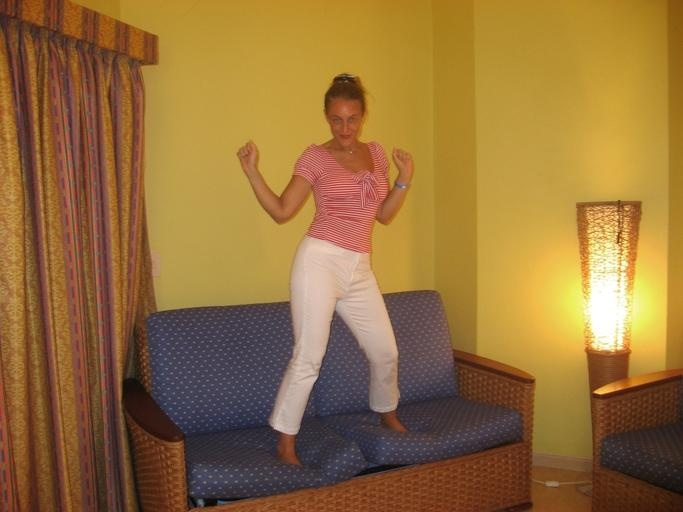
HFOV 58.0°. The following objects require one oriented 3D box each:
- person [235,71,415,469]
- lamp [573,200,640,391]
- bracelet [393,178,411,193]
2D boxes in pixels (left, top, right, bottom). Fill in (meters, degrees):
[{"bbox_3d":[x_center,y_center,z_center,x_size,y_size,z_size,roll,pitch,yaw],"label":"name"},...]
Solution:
[{"bbox_3d":[-0.031,0.025,2.803,0.692,1.706,0.283,-4,6,-25],"label":"person"},{"bbox_3d":[1.443,0.223,3.344,0.314,1.037,0.156,1,6,25],"label":"lamp"},{"bbox_3d":[0.285,-0.339,2.941,0.018,0.053,0.058,-22,9,-33],"label":"bracelet"}]
